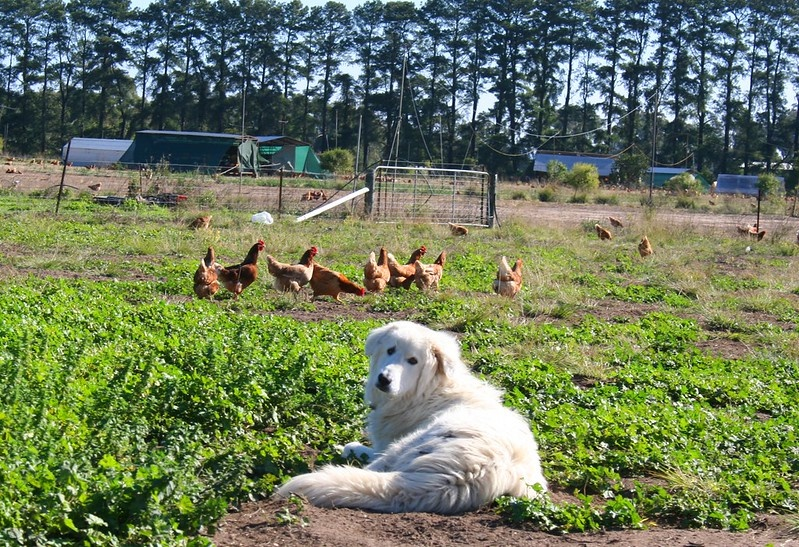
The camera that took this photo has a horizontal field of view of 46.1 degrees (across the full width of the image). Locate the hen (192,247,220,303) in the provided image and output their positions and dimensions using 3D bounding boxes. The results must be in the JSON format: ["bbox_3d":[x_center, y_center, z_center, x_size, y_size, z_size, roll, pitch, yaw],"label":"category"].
[{"bbox_3d":[-4.008,0.097,19.490,0.369,0.915,1.196,7,6,-12],"label":"hen"}]

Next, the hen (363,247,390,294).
[{"bbox_3d":[-0.527,-0.056,21.166,0.471,0.979,0.880,5,3,20],"label":"hen"}]

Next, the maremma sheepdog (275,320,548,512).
[{"bbox_3d":[0.481,2.237,14.961,3.264,2.791,4.040,4,4,20],"label":"maremma sheepdog"}]

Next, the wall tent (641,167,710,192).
[{"bbox_3d":[19.881,-7.048,69.053,3.764,2.250,14.183,5,4,14],"label":"wall tent"}]

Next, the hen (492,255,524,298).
[{"bbox_3d":[2.455,0.077,21.277,0.492,0.897,1.011,5,4,23],"label":"hen"}]

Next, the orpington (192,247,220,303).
[{"bbox_3d":[-4.020,-0.003,19.612,0.495,1.085,0.457,3,3,-14],"label":"orpington"}]

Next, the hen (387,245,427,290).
[{"bbox_3d":[0.160,-0.059,21.713,1.100,1.197,0.451,-6,10,-38],"label":"hen"}]

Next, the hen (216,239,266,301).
[{"bbox_3d":[-3.441,-0.014,19.978,1.299,1.502,0.696,2,-9,-34],"label":"hen"}]
